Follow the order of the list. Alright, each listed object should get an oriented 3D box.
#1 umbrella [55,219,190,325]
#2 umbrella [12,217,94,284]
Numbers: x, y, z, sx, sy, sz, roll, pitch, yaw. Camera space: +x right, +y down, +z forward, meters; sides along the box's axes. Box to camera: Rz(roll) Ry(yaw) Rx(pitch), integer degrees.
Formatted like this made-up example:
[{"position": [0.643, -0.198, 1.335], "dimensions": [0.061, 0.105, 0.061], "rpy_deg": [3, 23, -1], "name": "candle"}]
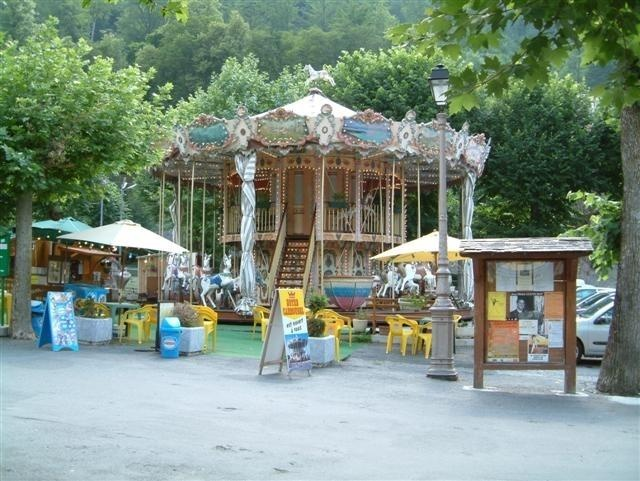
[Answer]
[{"position": [-7.943, 1.261, 26.347], "dimensions": [4.322, 1.824, 4.110], "rpy_deg": [5, 2, -16], "name": "umbrella"}, {"position": [-10.980, 0.442, 27.152], "dimensions": [3.146, 2.362, 2.875], "rpy_deg": [0, -4, 4], "name": "umbrella"}]
